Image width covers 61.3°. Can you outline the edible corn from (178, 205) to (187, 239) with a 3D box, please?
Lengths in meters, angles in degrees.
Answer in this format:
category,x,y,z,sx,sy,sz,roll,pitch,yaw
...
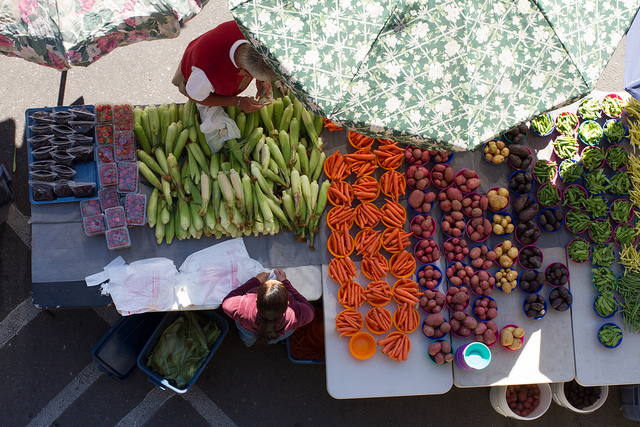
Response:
category,x,y,z,sx,sy,sz,roll,pitch,yaw
edible corn,-1.690,0.094,6.604,0.078,0.098,0.389,-8,86,7

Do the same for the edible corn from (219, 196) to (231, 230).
category,x,y,z,sx,sy,sz,roll,pitch,yaw
edible corn,-1.171,-0.006,6.610,0.092,0.092,0.355,-7,83,2

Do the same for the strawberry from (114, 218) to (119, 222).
category,x,y,z,sx,sy,sz,roll,pitch,yaw
strawberry,-2.463,0.073,6.537,0.048,0.033,0.037,-7,48,-14

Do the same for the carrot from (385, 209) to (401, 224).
category,x,y,z,sx,sy,sz,roll,pitch,yaw
carrot,0.871,0.037,6.569,0.240,0.059,0.073,52,55,-17

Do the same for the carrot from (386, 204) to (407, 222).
category,x,y,z,sx,sy,sz,roll,pitch,yaw
carrot,0.923,-0.030,6.586,0.368,0.083,0.064,46,12,-1

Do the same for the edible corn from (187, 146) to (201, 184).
category,x,y,z,sx,sy,sz,roll,pitch,yaw
edible corn,-1.568,-0.591,6.649,0.098,0.485,0.122,-12,4,18

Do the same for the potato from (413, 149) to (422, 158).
category,x,y,z,sx,sy,sz,roll,pitch,yaw
potato,1.162,-0.730,6.599,0.087,0.093,0.106,15,19,-40

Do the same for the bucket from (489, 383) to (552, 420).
category,x,y,z,sx,sy,sz,roll,pitch,yaw
bucket,2.638,2.482,7.293,0.629,0.676,0.712,-4,78,3

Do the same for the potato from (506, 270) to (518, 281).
category,x,y,z,sx,sy,sz,roll,pitch,yaw
potato,2.296,0.740,6.525,0.104,0.119,0.096,-24,53,-27

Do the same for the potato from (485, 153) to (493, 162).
category,x,y,z,sx,sy,sz,roll,pitch,yaw
potato,2.080,-0.707,6.710,0.075,0.084,0.040,2,4,10

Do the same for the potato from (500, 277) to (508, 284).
category,x,y,z,sx,sy,sz,roll,pitch,yaw
potato,2.202,0.795,6.532,0.067,0.059,0.057,-3,32,12

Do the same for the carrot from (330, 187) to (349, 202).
category,x,y,z,sx,sy,sz,roll,pitch,yaw
carrot,0.229,-0.244,6.595,0.212,0.055,0.049,40,92,13

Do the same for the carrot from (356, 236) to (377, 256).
category,x,y,z,sx,sy,sz,roll,pitch,yaw
carrot,0.556,0.379,6.518,0.276,0.038,0.036,-47,18,-2

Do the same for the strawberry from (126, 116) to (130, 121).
category,x,y,z,sx,sy,sz,roll,pitch,yaw
strawberry,-2.361,-1.166,6.622,0.037,0.038,0.035,0,46,-7

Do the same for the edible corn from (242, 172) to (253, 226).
category,x,y,z,sx,sy,sz,roll,pitch,yaw
edible corn,-0.883,-0.180,6.631,0.101,0.111,0.644,-7,87,11

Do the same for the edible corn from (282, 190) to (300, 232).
category,x,y,z,sx,sy,sz,roll,pitch,yaw
edible corn,-0.388,-0.081,6.682,0.124,0.575,0.131,-19,1,27

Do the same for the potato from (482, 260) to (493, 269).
category,x,y,z,sx,sy,sz,roll,pitch,yaw
potato,1.989,0.609,6.497,0.059,0.109,0.071,18,31,-52

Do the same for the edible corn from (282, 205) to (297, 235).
category,x,y,z,sx,sy,sz,roll,pitch,yaw
edible corn,-0.385,0.078,6.628,0.057,0.050,0.372,-23,88,10

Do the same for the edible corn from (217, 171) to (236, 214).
category,x,y,z,sx,sy,sz,roll,pitch,yaw
edible corn,-1.137,-0.273,6.618,0.156,0.134,0.521,-23,72,26

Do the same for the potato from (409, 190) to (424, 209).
category,x,y,z,sx,sy,sz,roll,pitch,yaw
potato,1.147,-0.173,6.525,0.168,0.211,0.101,16,45,9

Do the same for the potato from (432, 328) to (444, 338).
category,x,y,z,sx,sy,sz,roll,pitch,yaw
potato,1.383,1.413,6.430,0.115,0.094,0.066,-28,1,17

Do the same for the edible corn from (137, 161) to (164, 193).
category,x,y,z,sx,sy,sz,roll,pitch,yaw
edible corn,-2.097,-0.466,6.656,0.407,0.071,0.082,53,31,-2

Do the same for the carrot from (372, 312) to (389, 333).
category,x,y,z,sx,sy,sz,roll,pitch,yaw
carrot,0.685,1.246,6.439,0.350,0.078,0.055,57,29,3

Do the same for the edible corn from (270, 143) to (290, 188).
category,x,y,z,sx,sy,sz,roll,pitch,yaw
edible corn,-0.501,-0.643,6.669,0.134,0.709,0.134,-15,12,15

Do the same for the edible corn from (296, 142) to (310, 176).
category,x,y,z,sx,sy,sz,roll,pitch,yaw
edible corn,-0.218,-0.693,6.747,0.104,0.423,0.105,-9,10,9

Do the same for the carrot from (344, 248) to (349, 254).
category,x,y,z,sx,sy,sz,roll,pitch,yaw
carrot,0.307,0.443,6.529,0.012,0.049,0.049,-16,93,-24

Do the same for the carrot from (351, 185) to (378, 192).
category,x,y,z,sx,sy,sz,roll,pitch,yaw
carrot,0.521,-0.311,6.579,0.181,0.037,0.041,14,79,-2

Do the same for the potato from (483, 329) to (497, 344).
category,x,y,z,sx,sy,sz,roll,pitch,yaw
potato,1.993,1.449,6.403,0.132,0.152,0.078,5,2,-7

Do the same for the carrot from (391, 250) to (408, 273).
category,x,y,z,sx,sy,sz,roll,pitch,yaw
carrot,0.945,0.579,6.503,0.061,0.064,0.268,37,90,37

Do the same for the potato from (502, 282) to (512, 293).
category,x,y,z,sx,sy,sz,roll,pitch,yaw
potato,2.222,0.878,6.495,0.097,0.106,0.059,-24,1,17

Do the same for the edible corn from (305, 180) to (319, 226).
category,x,y,z,sx,sy,sz,roll,pitch,yaw
edible corn,-0.134,-0.128,6.690,0.131,0.570,0.114,12,-8,-44

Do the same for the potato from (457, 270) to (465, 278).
category,x,y,z,sx,sy,sz,roll,pitch,yaw
potato,1.670,0.716,6.462,0.083,0.078,0.075,8,21,-6

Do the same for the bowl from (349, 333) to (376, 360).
category,x,y,z,sx,sy,sz,roll,pitch,yaw
bowl,0.494,1.563,6.331,0.281,0.314,0.134,0,5,-2

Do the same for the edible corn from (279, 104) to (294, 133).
category,x,y,z,sx,sy,sz,roll,pitch,yaw
edible corn,-0.426,-1.173,6.731,0.100,0.397,0.099,17,18,1

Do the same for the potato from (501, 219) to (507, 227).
category,x,y,z,sx,sy,sz,roll,pitch,yaw
potato,2.213,0.108,6.553,0.066,0.070,0.083,-25,56,-11

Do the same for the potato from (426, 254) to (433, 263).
category,x,y,z,sx,sy,sz,roll,pitch,yaw
potato,1.303,0.532,6.515,0.074,0.081,0.042,14,18,20

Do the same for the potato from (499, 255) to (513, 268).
category,x,y,z,sx,sy,sz,roll,pitch,yaw
potato,2.222,0.571,6.506,0.110,0.087,0.154,-7,43,-3

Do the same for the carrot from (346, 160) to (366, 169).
category,x,y,z,sx,sy,sz,roll,pitch,yaw
carrot,0.440,-0.604,6.618,0.132,0.024,0.036,-31,30,1

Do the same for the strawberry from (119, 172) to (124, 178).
category,x,y,z,sx,sy,sz,roll,pitch,yaw
strawberry,-2.438,-0.476,6.610,0.066,0.068,0.017,2,3,-5

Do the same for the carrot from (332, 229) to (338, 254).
category,x,y,z,sx,sy,sz,roll,pitch,yaw
carrot,0.184,0.347,6.527,0.050,0.267,0.060,-7,6,24

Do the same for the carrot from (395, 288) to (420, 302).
category,x,y,z,sx,sy,sz,roll,pitch,yaw
carrot,1.018,0.959,6.438,0.231,0.056,0.053,25,16,4

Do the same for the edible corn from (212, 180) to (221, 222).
category,x,y,z,sx,sy,sz,roll,pitch,yaw
edible corn,-1.270,-0.177,6.599,0.090,0.092,0.466,-2,84,6

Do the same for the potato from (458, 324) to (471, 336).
category,x,y,z,sx,sy,sz,roll,pitch,yaw
potato,1.706,1.391,6.437,0.156,0.115,0.095,19,46,10

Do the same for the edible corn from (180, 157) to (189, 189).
category,x,y,z,sx,sy,sz,roll,pitch,yaw
edible corn,-1.679,-0.516,6.724,0.069,0.057,0.431,1,75,32

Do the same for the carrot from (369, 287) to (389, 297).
category,x,y,z,sx,sy,sz,roll,pitch,yaw
carrot,0.693,0.929,6.442,0.168,0.030,0.025,33,11,3
